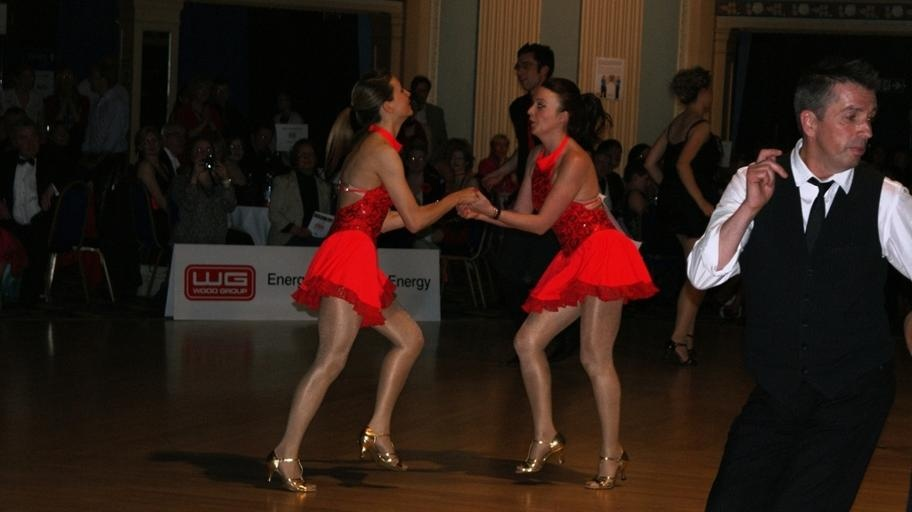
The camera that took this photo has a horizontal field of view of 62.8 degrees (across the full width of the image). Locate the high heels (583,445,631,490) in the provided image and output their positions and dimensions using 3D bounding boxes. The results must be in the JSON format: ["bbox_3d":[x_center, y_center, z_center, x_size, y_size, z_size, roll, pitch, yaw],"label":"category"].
[{"bbox_3d":[1.017,1.340,4.729,0.134,0.235,0.418,-6,-4,44],"label":"high heels"}]

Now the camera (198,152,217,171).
[{"bbox_3d":[-2.809,-1.071,8.528,0.121,0.199,0.080,-24,31,-11],"label":"camera"}]

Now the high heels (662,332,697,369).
[{"bbox_3d":[2.158,0.936,7.173,0.471,0.200,0.153,1,3,-37],"label":"high heels"}]

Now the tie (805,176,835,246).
[{"bbox_3d":[1.533,-0.181,3.171,0.089,0.299,0.092,6,10,21],"label":"tie"}]
